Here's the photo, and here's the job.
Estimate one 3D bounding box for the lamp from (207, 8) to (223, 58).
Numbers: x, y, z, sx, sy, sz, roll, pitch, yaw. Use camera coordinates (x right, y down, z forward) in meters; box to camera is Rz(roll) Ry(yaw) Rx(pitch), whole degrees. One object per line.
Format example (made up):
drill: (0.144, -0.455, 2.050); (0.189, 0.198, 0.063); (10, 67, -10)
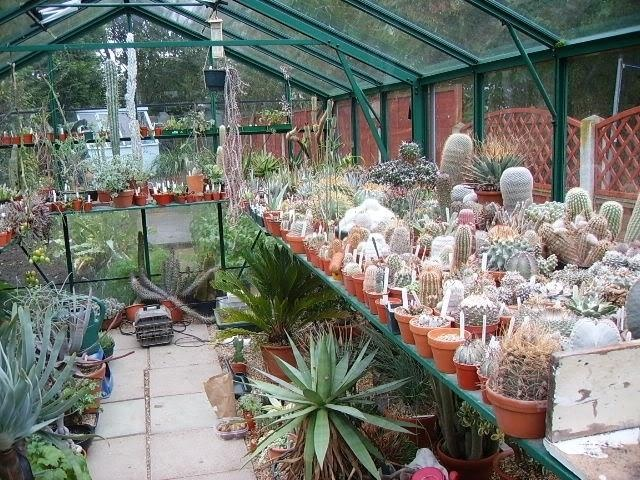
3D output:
lamp: (-0.981, -1.972, 4.953); (0.152, 0.466, 0.158); (-3, 42, -10)
